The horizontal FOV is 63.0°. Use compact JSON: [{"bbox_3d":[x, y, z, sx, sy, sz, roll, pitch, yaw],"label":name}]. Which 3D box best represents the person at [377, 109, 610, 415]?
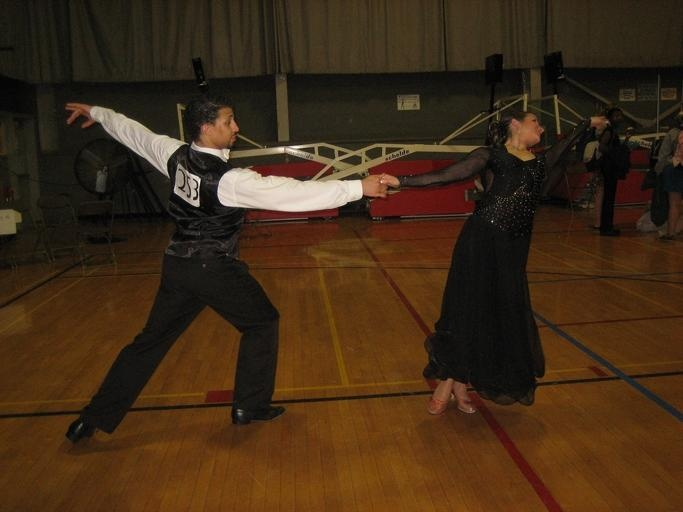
[{"bbox_3d":[0.787,-0.012,3.094,0.745,1.514,0.714,5,21,18],"label":"person"}]

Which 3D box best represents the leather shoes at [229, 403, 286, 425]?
[{"bbox_3d":[-0.466,0.891,3.158,0.336,0.110,0.100,-3,5,-23],"label":"leather shoes"}]

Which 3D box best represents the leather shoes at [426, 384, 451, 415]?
[{"bbox_3d":[0.548,0.820,3.182,0.094,0.075,0.230,0,14,11],"label":"leather shoes"}]

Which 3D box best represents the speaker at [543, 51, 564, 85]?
[{"bbox_3d":[3.792,-3.363,9.916,0.270,0.536,0.605,-4,18,-7],"label":"speaker"}]

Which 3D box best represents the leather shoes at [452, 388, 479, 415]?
[{"bbox_3d":[0.712,0.832,3.186,0.086,0.065,0.208,-3,13,-12],"label":"leather shoes"}]
